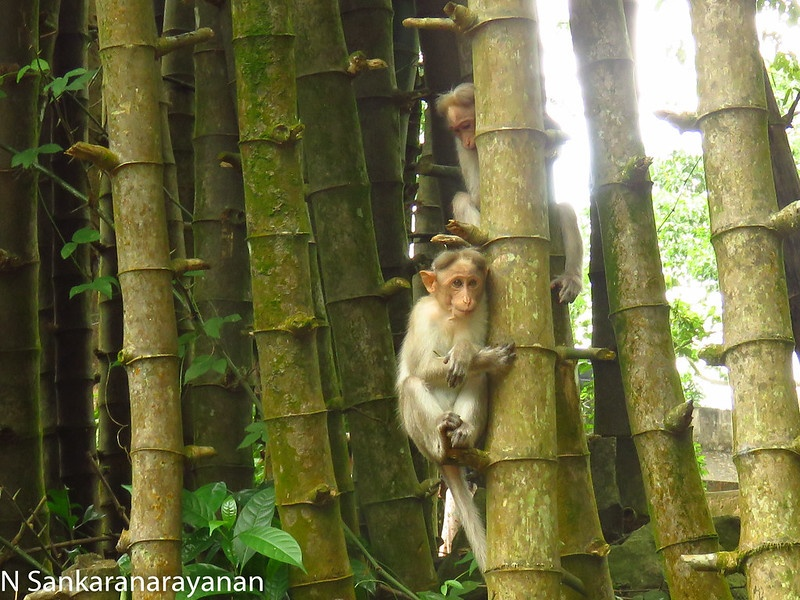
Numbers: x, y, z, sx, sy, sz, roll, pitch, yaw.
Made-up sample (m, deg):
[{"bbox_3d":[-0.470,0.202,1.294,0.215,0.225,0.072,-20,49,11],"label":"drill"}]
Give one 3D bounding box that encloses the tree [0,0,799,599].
[{"bbox_3d":[-0.231,-0.022,4.604,3.829,2.326,2.218,1,0,22],"label":"tree"}]
